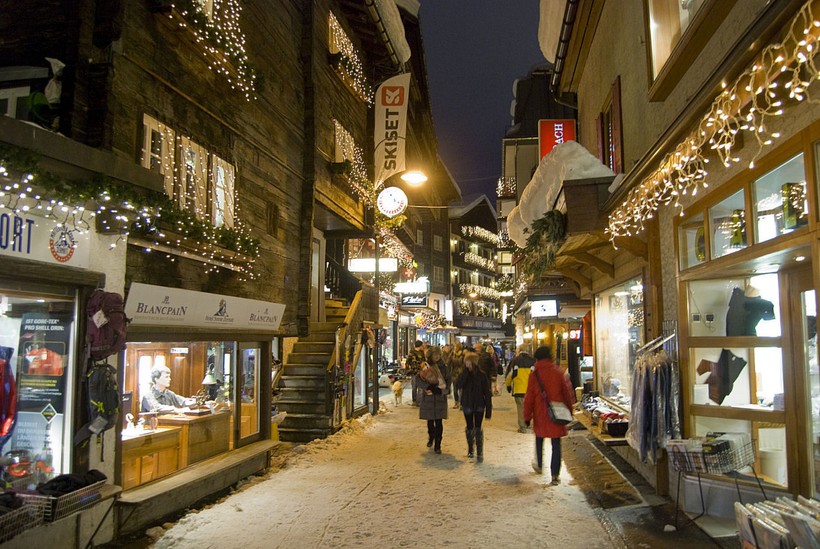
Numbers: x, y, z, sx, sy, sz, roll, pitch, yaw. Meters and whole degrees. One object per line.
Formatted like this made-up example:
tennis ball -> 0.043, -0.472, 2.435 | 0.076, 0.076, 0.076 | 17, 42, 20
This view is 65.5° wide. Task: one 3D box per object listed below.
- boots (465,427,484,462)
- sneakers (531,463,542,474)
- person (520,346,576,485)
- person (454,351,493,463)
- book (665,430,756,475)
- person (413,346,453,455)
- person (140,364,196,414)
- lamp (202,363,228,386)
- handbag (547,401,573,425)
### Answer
boots -> 1.352, 3.399, 12.885 | 0.299, 0.597, 0.906 | -1, -2, -6
sneakers -> 2.346, 3.560, 11.711 | 0.163, 0.108, 0.236 | 3, -7, 16
person -> 2.493, 2.457, 11.483 | 0.856, 2.319, 1.112 | -1, -1, 12
person -> 1.308, 2.672, 13.150 | 0.710, 2.074, 1.440 | -1, -2, 13
book -> 4.009, 2.365, 8.433 | 0.790, 0.407, 0.611 | -3, -9, -8
person -> 0.478, 2.694, 13.626 | 0.642, 2.114, 0.768 | -1, -1, 2
person -> -3.937, 1.932, 10.325 | 0.550, 0.753, 0.893 | -6, -10, 2
lamp -> -3.461, 1.783, 11.218 | 0.295, 0.352, 0.327 | 1, -9, -21
handbag -> 2.603, 2.425, 11.112 | 0.351, 0.360, 0.155 | 8, -41, -31
